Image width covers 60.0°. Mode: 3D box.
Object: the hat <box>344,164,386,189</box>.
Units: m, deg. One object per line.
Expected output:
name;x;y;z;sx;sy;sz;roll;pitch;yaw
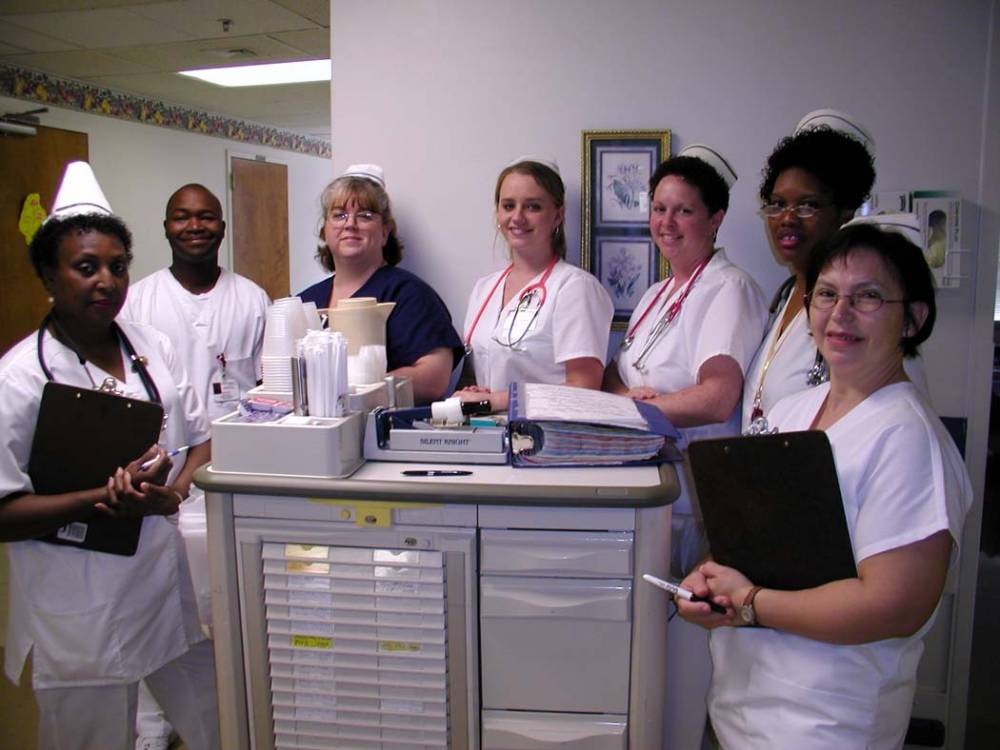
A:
hat;-0.487;-0.734;3.156;0.099;0.057;0.140;7;5;19

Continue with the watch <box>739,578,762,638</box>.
watch;0.550;0.524;1.923;0.084;0.094;0.052;-26;27;-38

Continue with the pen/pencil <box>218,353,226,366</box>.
pen/pencil;-1.023;-0.055;3.186;0.012;0.037;0.021;13;28;43

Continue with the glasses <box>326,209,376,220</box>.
glasses;-0.510;-0.545;2.983;0.161;0.041;0.040;-1;6;-8

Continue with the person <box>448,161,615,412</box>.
person;0.105;-0.339;2.967;0.537;0.779;0.326;2;7;19

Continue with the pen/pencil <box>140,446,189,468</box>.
pen/pencil;-0.926;0.230;2.396;0.025;0.023;0.190;6;13;22

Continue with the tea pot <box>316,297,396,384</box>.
tea pot;-0.408;-0.094;2.440;0.253;0.271;0.153;-2;7;-9

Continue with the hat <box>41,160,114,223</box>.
hat;-1.209;-0.511;2.514;0.196;0.201;0.188;-6;9;-26

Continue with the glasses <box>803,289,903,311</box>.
glasses;0.766;-0.157;1.866;0.180;0.048;0.050;3;7;26

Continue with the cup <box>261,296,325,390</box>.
cup;-0.579;-0.079;2.319;0.100;0.243;0.102;0;6;0
